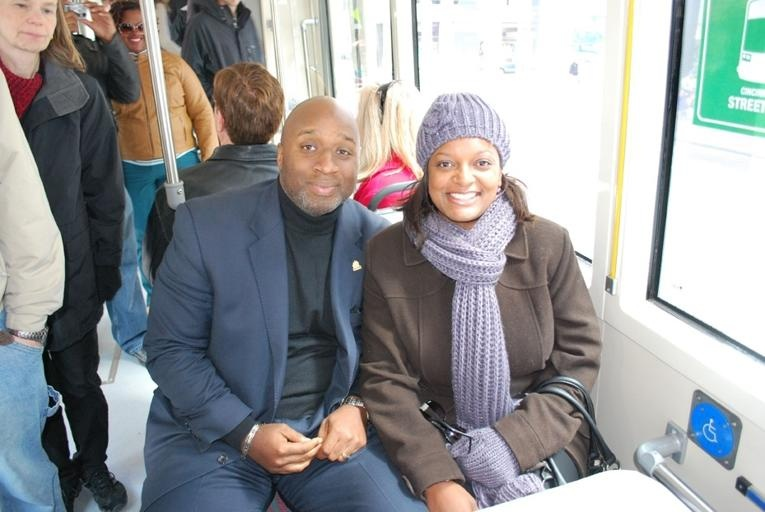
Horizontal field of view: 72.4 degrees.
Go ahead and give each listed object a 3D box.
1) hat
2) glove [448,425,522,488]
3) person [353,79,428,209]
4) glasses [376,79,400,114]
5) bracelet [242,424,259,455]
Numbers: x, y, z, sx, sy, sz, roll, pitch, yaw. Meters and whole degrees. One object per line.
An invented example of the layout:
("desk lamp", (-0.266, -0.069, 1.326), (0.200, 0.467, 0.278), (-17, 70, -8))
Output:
("hat", (0.277, -0.474, 1.972), (0.259, 0.237, 0.261), (0, -9, -13))
("glove", (0.359, 0.701, 1.827), (0.235, 0.178, 0.110), (15, 27, 33))
("person", (0.025, -0.759, 3.200), (0.511, 0.879, 0.341), (-1, -6, 3))
("glasses", (0.015, -1.022, 3.358), (0.078, 0.204, 0.148), (21, 16, 33))
("bracelet", (-0.499, 0.689, 1.966), (0.025, 0.090, 0.091), (18, -11, 9))
